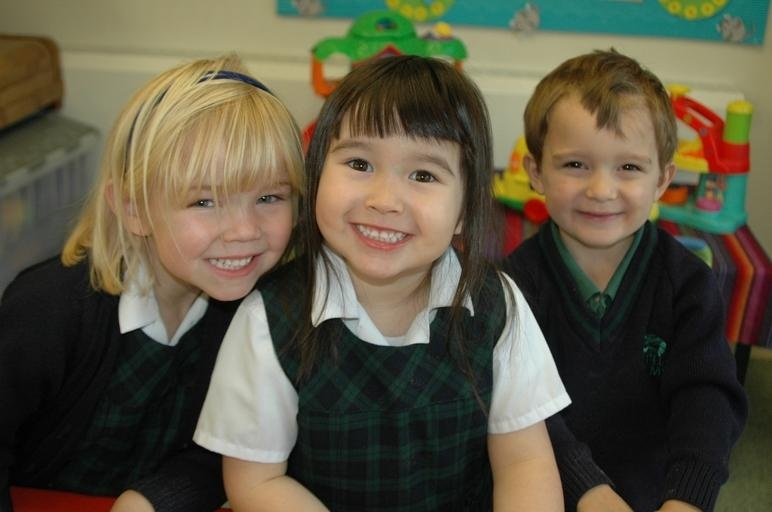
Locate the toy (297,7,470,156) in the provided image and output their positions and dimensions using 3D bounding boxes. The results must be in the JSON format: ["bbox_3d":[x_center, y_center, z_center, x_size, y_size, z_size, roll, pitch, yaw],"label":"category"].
[{"bbox_3d":[-0.028,-0.530,2.344,0.551,0.591,0.290,-3,24,-14],"label":"toy"}]
